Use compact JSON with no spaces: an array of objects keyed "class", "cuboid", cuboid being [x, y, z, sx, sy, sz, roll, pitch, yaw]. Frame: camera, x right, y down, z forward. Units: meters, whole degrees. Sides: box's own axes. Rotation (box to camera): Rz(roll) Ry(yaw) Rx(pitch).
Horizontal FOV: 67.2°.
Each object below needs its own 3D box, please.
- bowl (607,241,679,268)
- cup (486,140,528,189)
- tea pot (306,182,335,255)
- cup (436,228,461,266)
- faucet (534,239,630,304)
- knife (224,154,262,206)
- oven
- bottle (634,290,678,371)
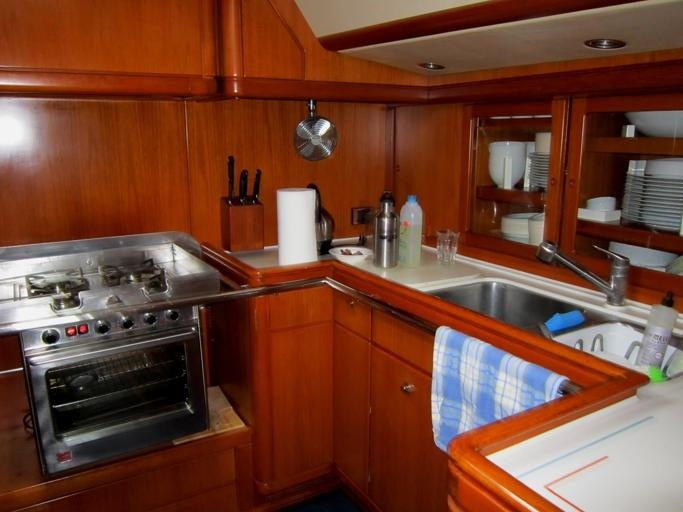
[{"class":"bowl","cuboid":[1.070,-0.005,1.813,0.119,0.084,0.121,0,17,0]},{"class":"cup","cuboid":[0.728,-0.402,2.272,0.163,0.217,0.221,3,31,15]},{"class":"tea pot","cuboid":[-0.119,-0.183,2.542,0.124,0.312,0.137,-5,14,17]},{"class":"cup","cuboid":[0.462,-0.043,2.287,0.109,0.147,0.099,-3,14,-21]},{"class":"faucet","cuboid":[0.841,0.056,1.742,0.329,0.226,0.126,-6,13,-12]},{"class":"knife","cuboid":[-0.484,-0.372,2.475,0.174,0.224,0.126,-11,45,-22]},{"class":"oven","cuboid":[-0.884,0.477,2.129,0.627,0.586,0.471,-9,3,-12]},{"class":"bottle","cuboid":[0.894,0.233,1.476,0.157,0.170,0.066,-13,16,-37]}]
